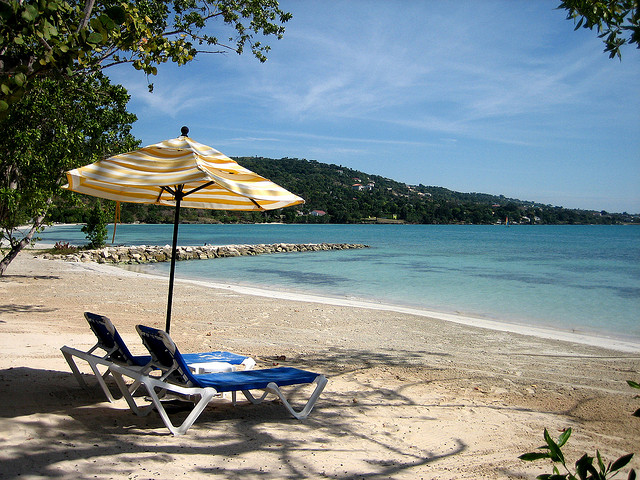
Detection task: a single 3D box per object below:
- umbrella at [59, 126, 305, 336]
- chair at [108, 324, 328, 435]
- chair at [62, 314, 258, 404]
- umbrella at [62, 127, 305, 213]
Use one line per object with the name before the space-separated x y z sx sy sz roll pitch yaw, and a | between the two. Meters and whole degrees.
umbrella | -1.976 -0.181 6.712 3.138 2.120 3.070 0 -6 37
chair | -1.138 1.587 6.033 2.165 0.730 1.132 6 -7 -28
chair | -2.107 1.466 6.622 2.482 0.835 1.193 1 -1 -30
umbrella | -1.789 -0.935 6.741 2.773 1.030 2.661 1 1 -21
